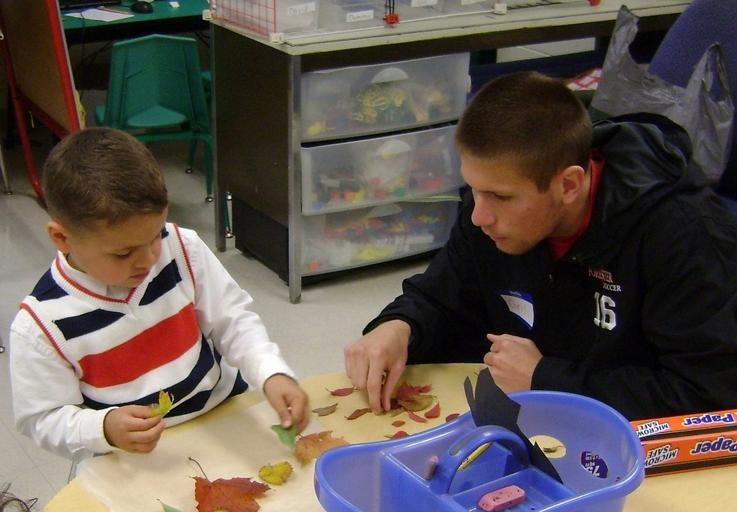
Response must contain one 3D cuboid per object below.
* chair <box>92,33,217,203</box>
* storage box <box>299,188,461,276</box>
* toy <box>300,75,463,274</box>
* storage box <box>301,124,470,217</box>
[{"bbox_3d":[-1.306,-0.866,3.710,0.655,1.000,0.662,-4,26,-17],"label":"chair"},{"bbox_3d":[0.048,-0.121,3.246,0.658,0.240,0.473,-15,21,-25],"label":"storage box"},{"bbox_3d":[0.010,-0.381,3.356,1.003,0.762,0.714,-13,29,-19],"label":"toy"},{"bbox_3d":[-0.050,-0.553,3.341,1.050,0.349,0.765,-16,28,-35],"label":"storage box"}]
